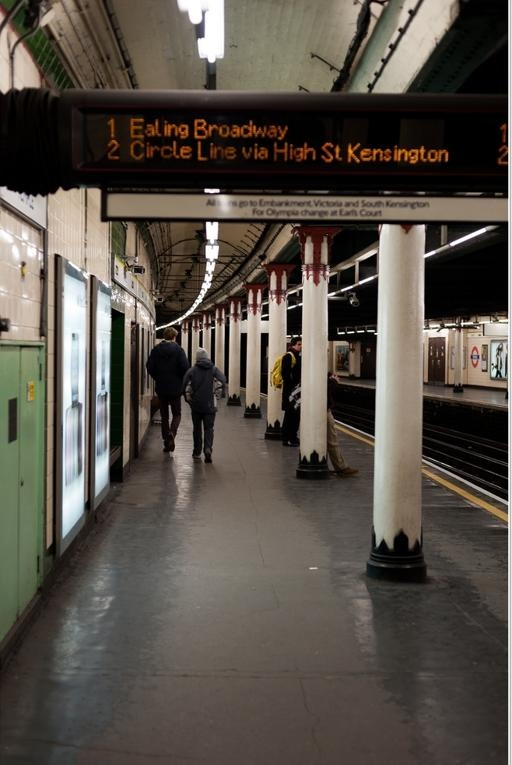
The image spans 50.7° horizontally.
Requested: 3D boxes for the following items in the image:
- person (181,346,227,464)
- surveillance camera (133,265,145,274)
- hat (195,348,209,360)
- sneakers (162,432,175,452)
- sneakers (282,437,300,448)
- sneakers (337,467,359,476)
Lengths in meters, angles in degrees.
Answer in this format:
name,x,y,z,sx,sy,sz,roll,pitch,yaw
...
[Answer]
name,x,y,z,sx,sy,sz,roll,pitch,yaw
person,-1.029,0.469,10.749,0.790,2.233,0.859,1,-2,-5
surveillance camera,-2.626,-2.515,12.106,0.215,0.291,0.359,2,-1,-3
hat,-1.095,-0.545,10.824,0.178,0.281,0.238,-3,9,-1
sneakers,-1.897,1.342,11.766,0.155,0.553,0.195,3,11,7
sneakers,0.833,1.503,13.151,0.403,0.244,0.152,-2,0,31
sneakers,1.594,1.600,9.532,0.365,0.220,0.162,-2,2,-5
